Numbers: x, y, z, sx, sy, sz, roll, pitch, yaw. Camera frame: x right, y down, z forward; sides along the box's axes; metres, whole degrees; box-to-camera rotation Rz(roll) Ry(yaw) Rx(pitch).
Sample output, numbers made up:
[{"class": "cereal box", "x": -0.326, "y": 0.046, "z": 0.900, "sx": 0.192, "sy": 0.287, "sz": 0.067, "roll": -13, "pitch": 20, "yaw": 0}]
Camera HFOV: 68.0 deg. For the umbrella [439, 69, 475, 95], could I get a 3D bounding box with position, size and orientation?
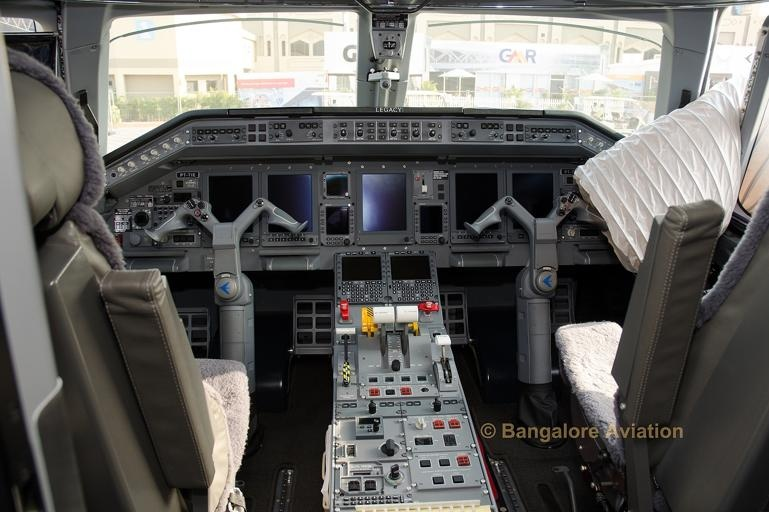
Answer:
[{"class": "umbrella", "x": 0.606, "y": -1.416, "z": 4.647, "sx": 0.227, "sy": 0.147, "sz": 0.216, "roll": -5, "pitch": 12, "yaw": -30}]
